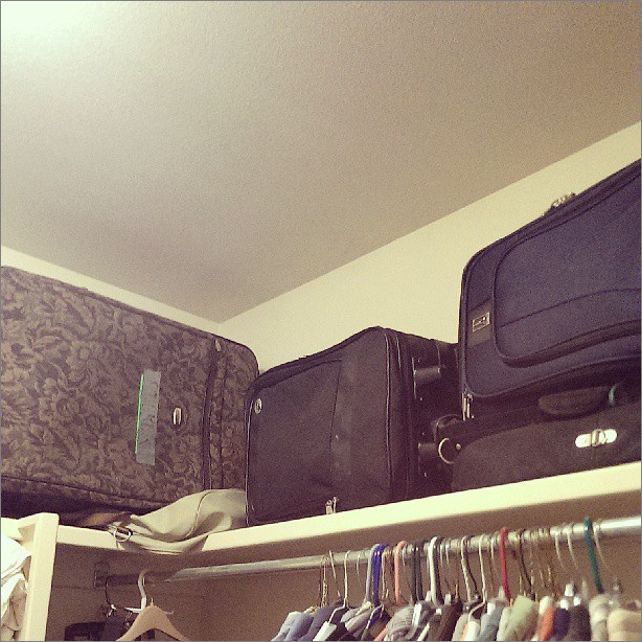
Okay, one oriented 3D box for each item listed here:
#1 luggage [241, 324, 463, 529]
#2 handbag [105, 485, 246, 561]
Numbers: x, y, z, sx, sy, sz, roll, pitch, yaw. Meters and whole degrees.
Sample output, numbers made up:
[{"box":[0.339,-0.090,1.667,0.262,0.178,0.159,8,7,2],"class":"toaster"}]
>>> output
[{"box":[0.043,0.216,1.155,0.469,0.348,0.175,-20,-32,28],"class":"luggage"},{"box":[-0.293,0.378,1.200,0.196,0.114,0.228,-6,-8,45],"class":"handbag"}]
